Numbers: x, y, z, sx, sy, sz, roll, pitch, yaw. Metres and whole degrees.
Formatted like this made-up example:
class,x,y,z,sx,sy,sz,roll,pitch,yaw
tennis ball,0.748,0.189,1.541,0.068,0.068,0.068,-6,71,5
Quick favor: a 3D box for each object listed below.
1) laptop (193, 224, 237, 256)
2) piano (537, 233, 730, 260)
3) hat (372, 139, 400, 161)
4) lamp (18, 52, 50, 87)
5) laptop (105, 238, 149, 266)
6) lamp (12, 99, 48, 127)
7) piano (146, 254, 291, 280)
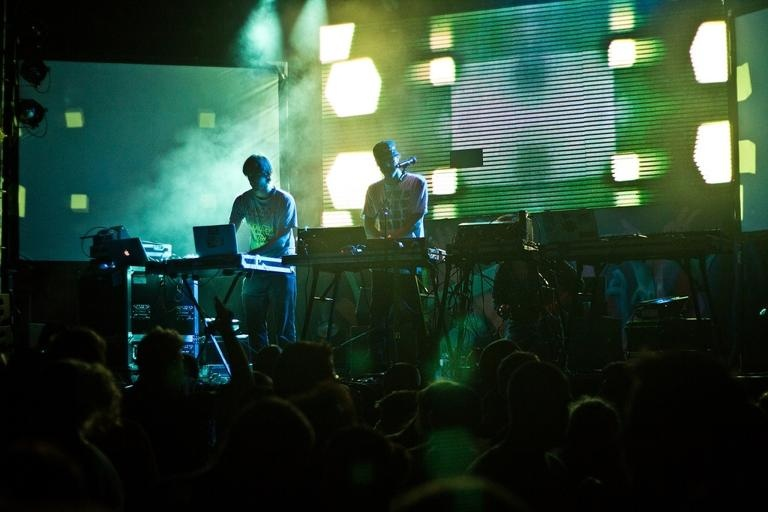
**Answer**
class,x,y,z,sx,sy,sz,roll,pitch,yaw
laptop,-1.487,-0.145,7.402,0.384,0.257,0.279,0,2,3
piano,2.231,-0.086,7.354,1.600,0.217,0.349,-2,0,7
hat,0.040,-1.022,7.837,0.244,0.184,0.174,-10,12,-30
lamp,-3.700,-1.978,8.715,0.343,0.329,0.140,-8,11,-22
laptop,-2.598,-0.052,8.326,0.391,0.249,0.282,2,16,14
lamp,-3.601,-1.457,8.385,0.314,0.238,0.116,-22,41,-14
piano,-1.468,0.075,7.415,1.288,0.193,0.477,-2,0,-17
